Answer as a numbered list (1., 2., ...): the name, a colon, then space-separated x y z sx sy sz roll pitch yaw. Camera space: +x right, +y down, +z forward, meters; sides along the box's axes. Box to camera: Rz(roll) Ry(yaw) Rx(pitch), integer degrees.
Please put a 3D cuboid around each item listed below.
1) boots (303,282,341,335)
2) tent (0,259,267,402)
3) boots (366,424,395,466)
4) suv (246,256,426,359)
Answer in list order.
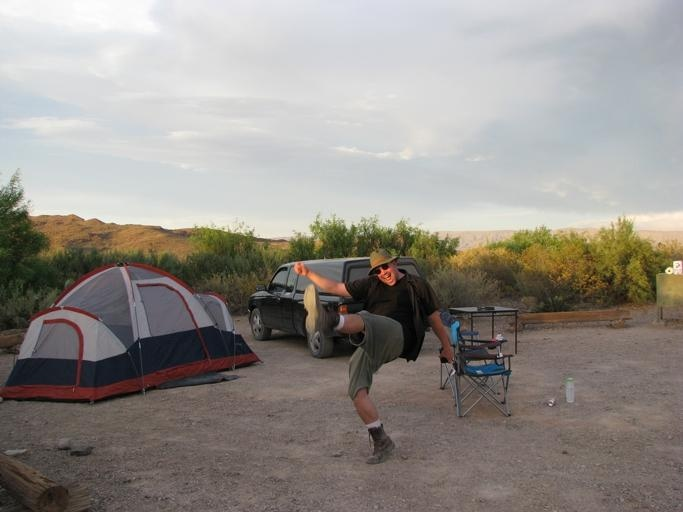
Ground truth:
1. boots: -0.202 0.577 5.556 0.379 0.535 0.334 -1 3 -3
2. tent: -3.812 1.197 9.350 2.181 1.681 3.229 -20 -14 33
3. boots: 0.453 2.126 5.849 0.355 0.418 0.282 -1 3 -8
4. suv: -0.686 0.985 12.070 2.023 1.645 3.578 -1 5 -32
